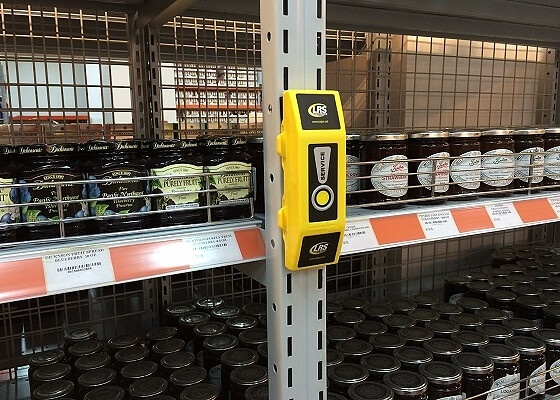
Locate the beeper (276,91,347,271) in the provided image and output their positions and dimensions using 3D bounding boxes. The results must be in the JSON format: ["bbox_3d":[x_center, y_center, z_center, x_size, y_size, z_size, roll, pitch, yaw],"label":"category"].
[{"bbox_3d":[0.076,-0.043,0.883,0.167,0.388,0.067,-10,13,-21],"label":"beeper"}]
